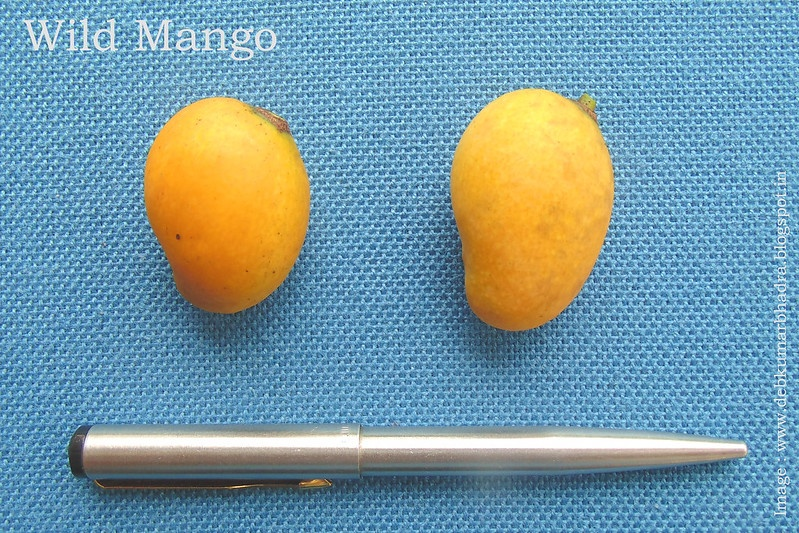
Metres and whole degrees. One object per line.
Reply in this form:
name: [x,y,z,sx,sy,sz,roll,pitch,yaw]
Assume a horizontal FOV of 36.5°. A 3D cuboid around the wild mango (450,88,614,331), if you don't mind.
wild mango: [0.116,-0.053,1.168,0.125,0.217,0.185,-2,80,-1]
